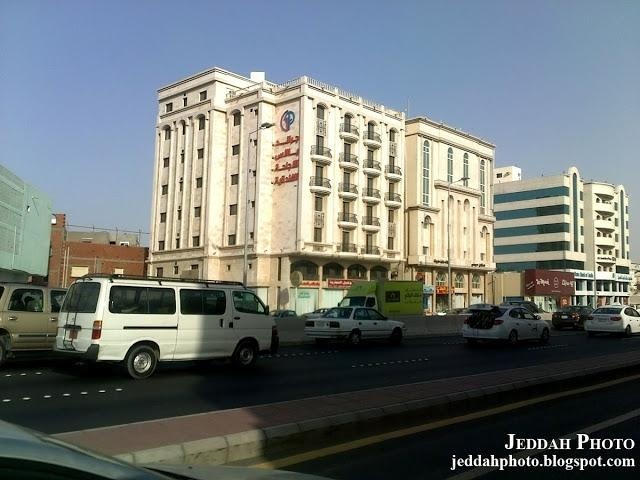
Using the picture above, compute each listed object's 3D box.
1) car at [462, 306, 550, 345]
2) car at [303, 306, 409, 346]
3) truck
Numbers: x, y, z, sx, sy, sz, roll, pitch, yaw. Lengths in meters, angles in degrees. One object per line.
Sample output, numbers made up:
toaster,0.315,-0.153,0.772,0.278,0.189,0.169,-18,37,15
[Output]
car,7.973,3.576,24.469,3.474,1.094,1.705,2,-5,-39
car,1.527,3.543,23.949,3.770,1.240,1.691,1,-4,-34
truck,4.271,4.336,39.016,5.397,2.676,2.590,3,-9,-30
